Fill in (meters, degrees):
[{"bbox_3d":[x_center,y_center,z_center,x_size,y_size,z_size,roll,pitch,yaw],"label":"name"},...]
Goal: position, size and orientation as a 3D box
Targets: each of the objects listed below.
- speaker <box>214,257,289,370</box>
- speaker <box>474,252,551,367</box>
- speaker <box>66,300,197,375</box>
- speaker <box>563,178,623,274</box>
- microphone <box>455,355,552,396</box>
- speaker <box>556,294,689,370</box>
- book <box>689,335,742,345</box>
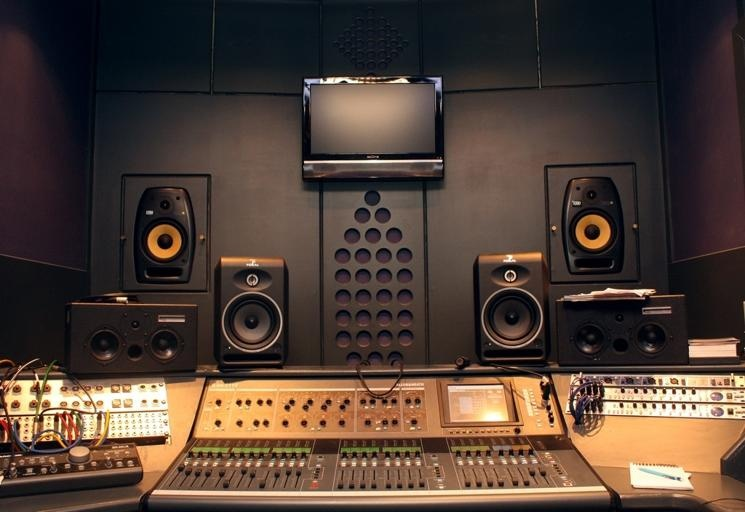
[{"bbox_3d":[-0.682,0.302,3.594,0.410,0.617,0.328,0,6,-15],"label":"speaker"},{"bbox_3d":[0.774,0.258,3.592,0.405,0.613,0.352,-2,10,14],"label":"speaker"},{"bbox_3d":[-1.279,0.423,3.495,0.651,0.403,0.348,1,7,-13],"label":"speaker"},{"bbox_3d":[1.426,-0.229,4.137,0.458,0.631,0.448,9,22,45],"label":"speaker"},{"bbox_3d":[0.704,0.648,3.374,0.365,0.065,0.145,7,36,22],"label":"microphone"},{"bbox_3d":[1.326,0.389,3.491,0.672,0.395,0.370,-1,5,11],"label":"speaker"},{"bbox_3d":[1.752,0.452,3.290,0.231,0.033,0.071,-5,-10,16],"label":"book"}]
